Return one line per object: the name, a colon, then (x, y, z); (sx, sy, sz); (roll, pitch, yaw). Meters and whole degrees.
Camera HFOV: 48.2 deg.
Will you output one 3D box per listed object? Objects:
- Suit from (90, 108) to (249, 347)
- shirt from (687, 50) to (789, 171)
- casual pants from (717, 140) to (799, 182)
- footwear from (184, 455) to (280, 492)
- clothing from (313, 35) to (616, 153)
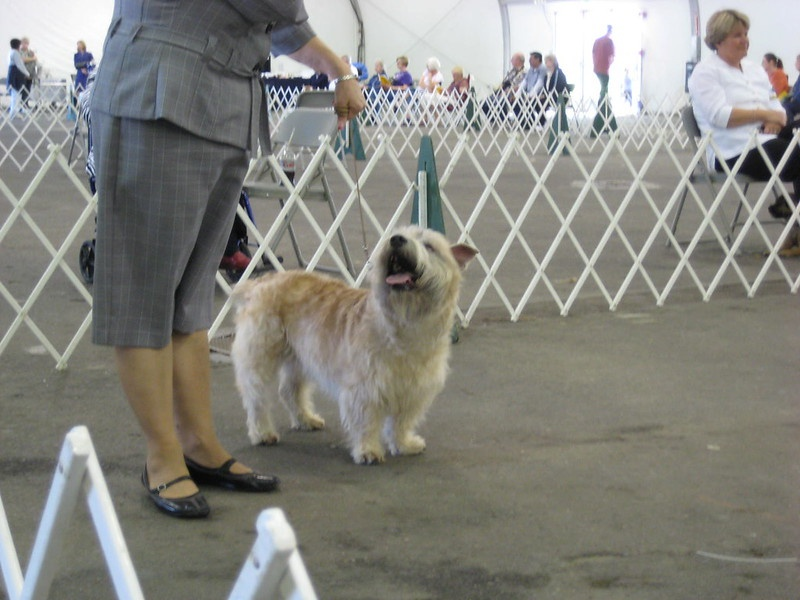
Suit: (-0.825, -0.321, 3.371); (0.483, 1.045, 0.569); (8, 16, 6)
shirt: (2.535, -1.442, 6.765); (0.638, 0.894, 0.553); (1, -4, -23)
casual pants: (2.649, -1.022, 6.532); (0.644, 0.318, 0.374); (2, 11, 0)
footwear: (-0.667, 0.695, 3.586); (0.377, 0.160, 0.154); (4, -2, 1)
clothing: (1.723, -3.695, 17.097); (4.069, 1.565, 5.128); (4, 14, 5)
